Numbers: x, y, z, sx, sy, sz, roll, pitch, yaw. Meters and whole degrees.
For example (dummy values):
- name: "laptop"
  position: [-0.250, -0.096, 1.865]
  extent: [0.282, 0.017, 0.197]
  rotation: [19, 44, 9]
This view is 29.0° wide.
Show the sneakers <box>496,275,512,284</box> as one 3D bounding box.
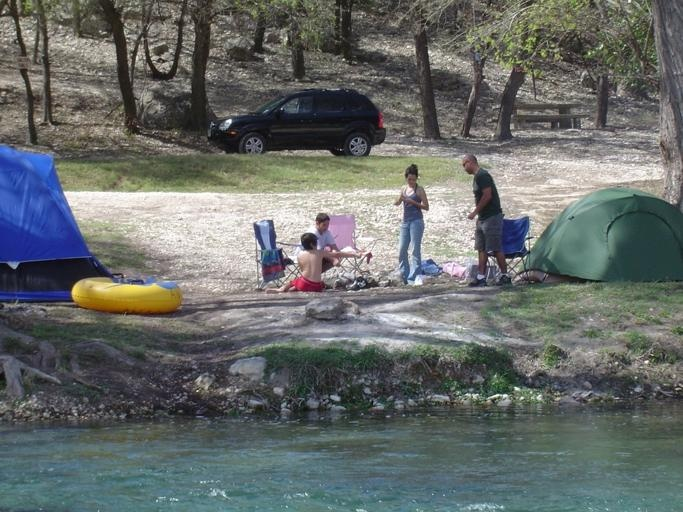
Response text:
- name: "sneakers"
  position: [3.262, 0.483, 26.505]
  extent: [0.153, 0.153, 0.320]
  rotation: [-2, -3, 44]

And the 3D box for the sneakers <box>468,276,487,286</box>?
- name: "sneakers"
  position: [2.787, 0.527, 26.767]
  extent: [0.375, 0.165, 0.163]
  rotation: [2, 2, 13]

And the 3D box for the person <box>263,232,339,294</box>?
- name: "person"
  position: [-0.702, 0.217, 27.343]
  extent: [2.110, 1.268, 1.197]
  rotation: [-2, 12, -20]

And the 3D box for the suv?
- name: "suv"
  position: [-1.281, -3.858, 38.651]
  extent: [5.024, 1.571, 2.080]
  rotation: [1, 2, -17]
